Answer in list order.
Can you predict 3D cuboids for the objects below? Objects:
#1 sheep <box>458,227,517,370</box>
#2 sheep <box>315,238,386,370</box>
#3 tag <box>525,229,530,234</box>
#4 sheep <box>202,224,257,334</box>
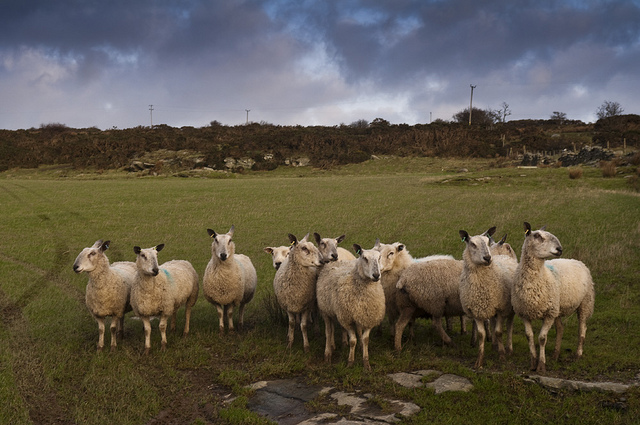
[{"bbox_3d":[5.095,2.484,13.995,1.579,3.866,2.891,11,19,42],"label":"sheep"},{"bbox_3d":[0.846,2.706,13.929,1.498,3.328,2.367,-14,19,-41],"label":"sheep"},{"bbox_3d":[5.952,0.531,13.359,0.084,0.155,0.044,15,18,21],"label":"tag"},{"bbox_3d":[-3.224,2.270,16.368,1.273,3.576,2.482,0,14,8],"label":"sheep"}]
